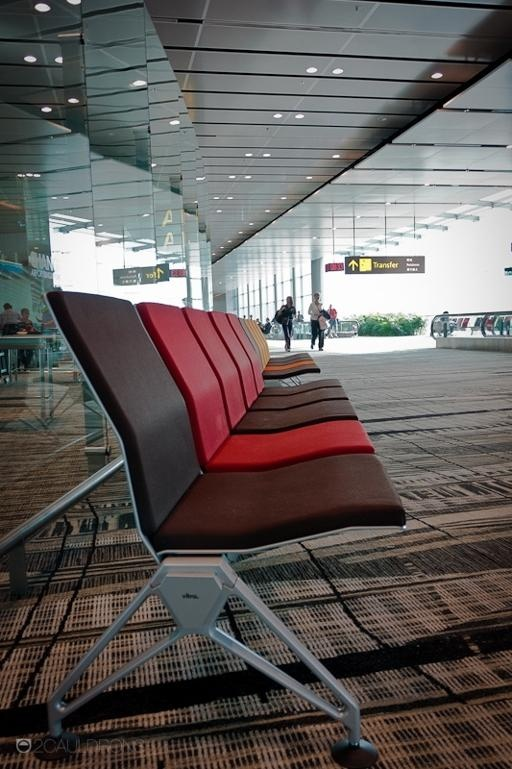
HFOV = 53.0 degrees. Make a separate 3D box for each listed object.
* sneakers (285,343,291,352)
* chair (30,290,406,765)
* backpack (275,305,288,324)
[{"bbox_3d":[0.919,-1.039,14.781,0.105,0.225,0.319,-1,-8,0],"label":"sneakers"},{"bbox_3d":[-0.031,0.215,0.961,0.589,0.768,0.503,1,10,15],"label":"chair"},{"bbox_3d":[0.743,-1.951,14.528,0.302,0.509,0.524,2,3,6],"label":"backpack"}]
